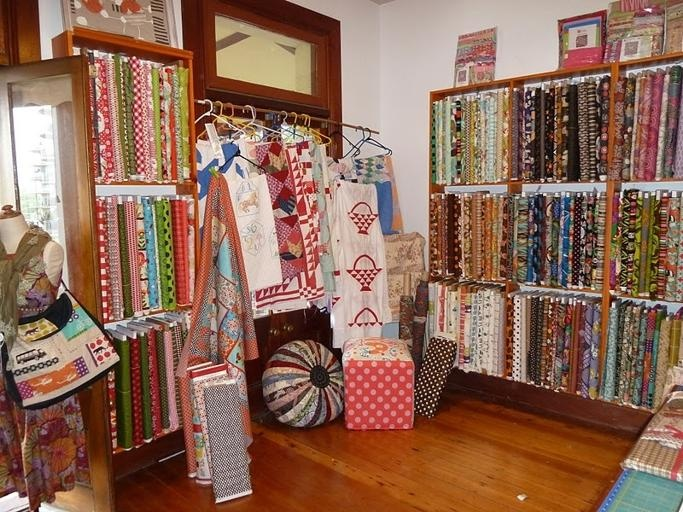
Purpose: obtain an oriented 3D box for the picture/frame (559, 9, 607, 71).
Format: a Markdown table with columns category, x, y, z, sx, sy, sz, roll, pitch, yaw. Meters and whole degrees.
| category | x | y | z | sx | sy | sz | roll | pitch | yaw |
| --- | --- | --- | --- | --- | --- | --- | --- | --- | --- |
| picture/frame | 1.553 | -1.412 | 3.595 | 0.287 | 0.347 | 0.172 | 3 | 14 | 19 |
